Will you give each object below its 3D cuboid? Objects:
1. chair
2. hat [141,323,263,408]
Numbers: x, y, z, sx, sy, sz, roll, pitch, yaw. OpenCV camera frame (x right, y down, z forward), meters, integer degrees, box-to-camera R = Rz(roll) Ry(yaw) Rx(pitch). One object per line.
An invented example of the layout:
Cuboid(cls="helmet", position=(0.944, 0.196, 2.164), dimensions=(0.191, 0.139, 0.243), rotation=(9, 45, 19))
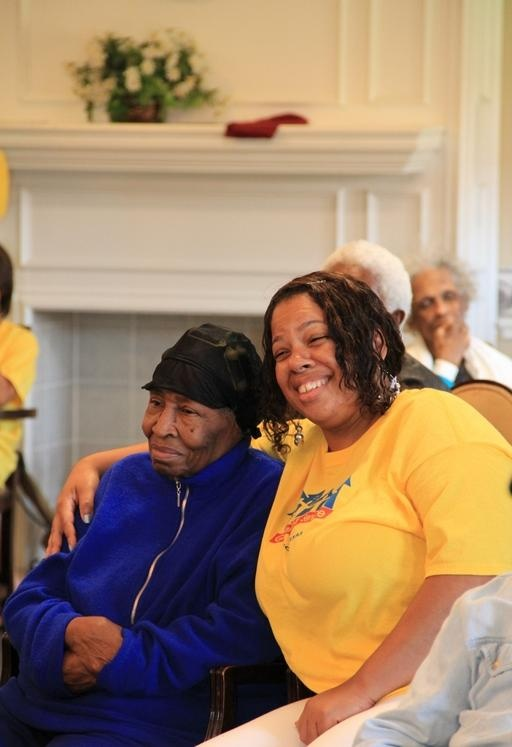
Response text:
Cuboid(cls="chair", position=(-0.011, 0.502, 1.201), dimensions=(0.140, 0.157, 0.136), rotation=(-2, -13, 10))
Cuboid(cls="hat", position=(-0.083, -0.009, 1.383), dimensions=(0.140, 0.101, 0.196), rotation=(24, 9, 23))
